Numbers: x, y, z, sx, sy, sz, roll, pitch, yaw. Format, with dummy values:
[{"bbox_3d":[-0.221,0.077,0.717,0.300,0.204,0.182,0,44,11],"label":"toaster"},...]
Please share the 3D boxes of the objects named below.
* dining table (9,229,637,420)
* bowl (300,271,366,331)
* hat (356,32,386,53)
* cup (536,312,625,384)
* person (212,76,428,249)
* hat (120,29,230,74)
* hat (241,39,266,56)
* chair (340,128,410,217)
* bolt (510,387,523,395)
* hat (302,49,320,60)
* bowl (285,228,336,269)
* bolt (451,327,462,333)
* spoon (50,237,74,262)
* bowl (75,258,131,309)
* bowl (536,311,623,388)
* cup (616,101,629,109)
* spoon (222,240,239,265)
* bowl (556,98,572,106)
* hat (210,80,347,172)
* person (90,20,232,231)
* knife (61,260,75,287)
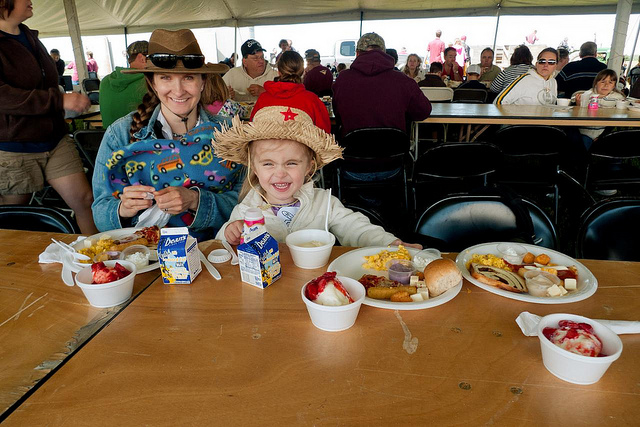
[{"bbox_3d":[0.160,0.325,1.605,2.059,0.380,0.764,0,19,1],"label":"dining table"},{"bbox_3d":[0.045,0.308,1.592,0.262,0.134,0.218,-3,16,-9],"label":"bowl"},{"bbox_3d":[0.454,-1.533,3.868,0.254,0.165,0.418,1,18,5],"label":"hat"},{"bbox_3d":[0.840,0.418,1.437,0.249,0.121,0.223,-2,25,2],"label":"cup"},{"bbox_3d":[-0.125,-0.241,2.304,0.907,0.871,0.880,-6,20,-14],"label":"person"},{"bbox_3d":[-0.849,-0.942,2.521,0.609,0.215,0.635,-6,20,-17],"label":"hat"},{"bbox_3d":[-0.884,-2.165,5.655,0.244,0.134,0.168,15,41,38],"label":"hat"},{"bbox_3d":[0.461,-0.417,3.750,0.646,1.011,0.688,-2,56,5],"label":"chair"},{"bbox_3d":[0.617,0.557,1.362,0.025,0.006,0.018,-1,17,10],"label":"bolt"},{"bbox_3d":[-0.127,-2.644,7.213,0.232,0.164,0.276,0,19,0],"label":"hat"},{"bbox_3d":[-0.037,0.134,1.908,0.199,0.086,0.180,1,14,3],"label":"bowl"},{"bbox_3d":[0.484,0.413,1.538,0.024,0.005,0.016,1,19,10],"label":"bolt"},{"bbox_3d":[-1.129,0.153,1.919,0.172,0.058,0.017,40,3,25],"label":"spoon"},{"bbox_3d":[-0.890,0.281,1.743,0.306,0.162,0.296,-4,-14,-1],"label":"bowl"},{"bbox_3d":[0.839,0.437,1.441,0.248,0.132,0.234,-2,17,0],"label":"bowl"},{"bbox_3d":[3.084,-1.104,4.431,0.133,0.082,0.120,-4,17,-5],"label":"cup"},{"bbox_3d":[-0.411,0.172,1.945,0.046,0.032,0.245,-4,23,-23],"label":"spoon"},{"bbox_3d":[2.486,-1.128,4.406,0.123,0.078,0.112,1,10,0],"label":"bowl"},{"bbox_3d":[-0.112,-0.571,2.387,0.716,0.330,0.743,4,18,9],"label":"hat"},{"bbox_3d":[-0.888,-0.450,2.382,0.721,1.085,0.612,-11,23,-27],"label":"person"},{"bbox_3d":[-1.041,0.245,1.778,0.034,0.014,0.161,-14,34,-41],"label":"knife"}]
